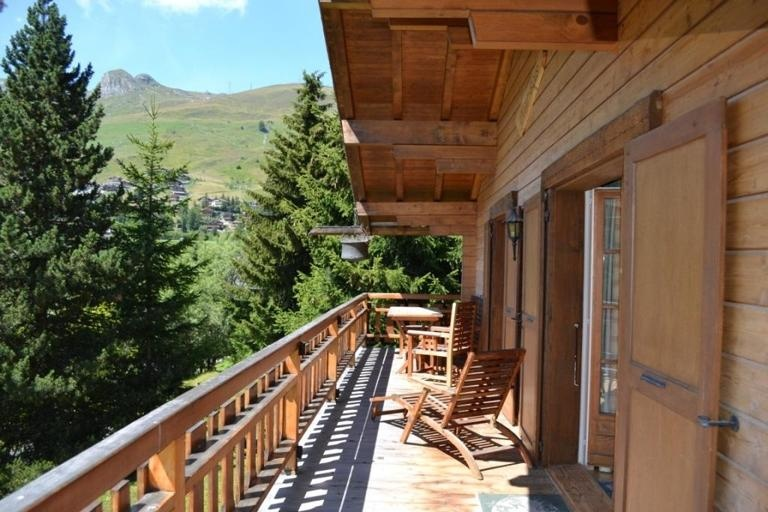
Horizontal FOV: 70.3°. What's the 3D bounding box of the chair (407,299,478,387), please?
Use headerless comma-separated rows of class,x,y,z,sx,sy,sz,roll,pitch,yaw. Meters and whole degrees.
chair,0.834,1.223,7.727,0.753,1.056,0.738,0,-1,31

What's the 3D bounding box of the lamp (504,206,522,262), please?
lamp,1.409,-0.234,5.919,0.228,0.557,0.226,0,-1,20

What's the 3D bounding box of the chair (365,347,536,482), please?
chair,0.686,1.390,5.228,0.773,1.012,1.882,3,-2,-25
